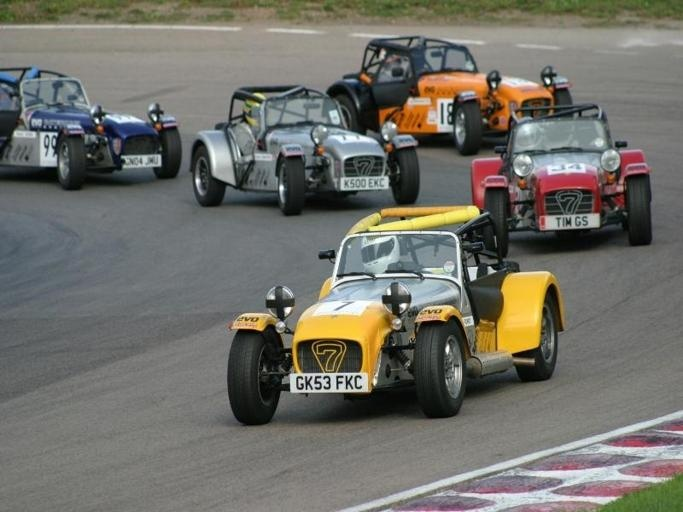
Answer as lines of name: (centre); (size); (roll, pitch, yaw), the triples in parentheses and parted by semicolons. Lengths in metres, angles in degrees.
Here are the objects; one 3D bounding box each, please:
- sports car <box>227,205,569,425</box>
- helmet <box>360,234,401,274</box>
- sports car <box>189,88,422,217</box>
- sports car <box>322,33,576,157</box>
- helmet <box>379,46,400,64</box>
sports car: (0.804, 0.630, 12.607); (1.957, 1.547, 3.228); (-3, -2, 26)
helmet: (0.434, -0.022, 12.739); (0.319, 0.409, 0.434); (-10, -21, 15)
sports car: (-1.028, -1.993, 22.188); (2.409, 1.839, 3.733); (-5, 3, -37)
sports car: (2.268, -3.871, 27.201); (4.893, 2.230, 2.913); (4, 10, 44)
helmet: (1.135, -4.738, 27.506); (0.323, 0.245, 0.446); (-1, 15, -23)
